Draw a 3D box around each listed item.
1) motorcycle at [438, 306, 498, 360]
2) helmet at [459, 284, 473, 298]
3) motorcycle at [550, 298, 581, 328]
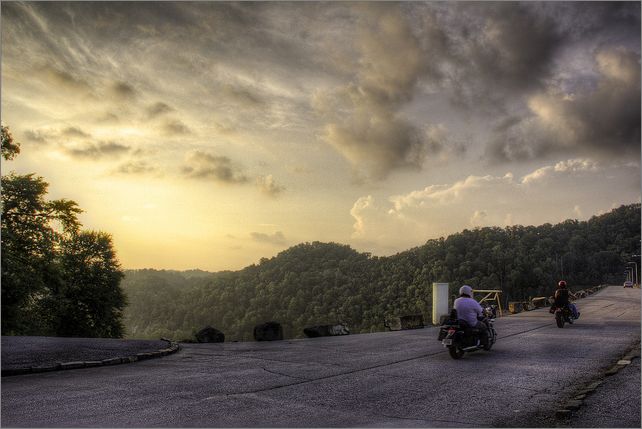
[{"bbox_3d":[5.073,4.127,15.203,2.319,1.656,0.749,10,-19,-39],"label":"motorcycle"},{"bbox_3d":[5.180,2.755,15.751,0.436,0.469,0.607,3,8,36],"label":"helmet"},{"bbox_3d":[11.959,4.986,21.648,1.774,1.007,0.899,16,-37,-42],"label":"motorcycle"}]
